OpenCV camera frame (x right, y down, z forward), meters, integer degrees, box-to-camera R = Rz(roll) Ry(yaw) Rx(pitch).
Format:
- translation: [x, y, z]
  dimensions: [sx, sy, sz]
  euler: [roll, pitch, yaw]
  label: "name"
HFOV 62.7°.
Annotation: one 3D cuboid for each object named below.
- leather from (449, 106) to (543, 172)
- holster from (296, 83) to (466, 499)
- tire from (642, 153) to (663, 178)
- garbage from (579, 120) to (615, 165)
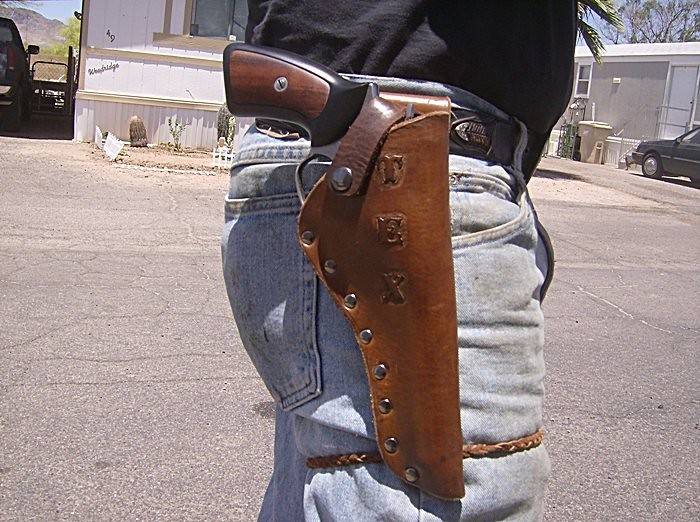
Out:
- translation: [0.306, -0.259, 1.182]
  dimensions: [0.148, 0.105, 0.037]
  euler: [11, -7, -25]
  label: "leather"
- translation: [0.039, 0.072, 1.080]
  dimensions: [0.280, 0.760, 0.161]
  euler: [-6, -28, 12]
  label: "holster"
- translation: [10.179, -3.215, 19.268]
  dimensions: [0.255, 0.884, 0.754]
  euler: [2, 1, -23]
  label: "tire"
- translation: [9.960, -4.899, 23.514]
  dimensions: [0.838, 1.691, 1.144]
  euler: [-3, 18, -8]
  label: "garbage"
